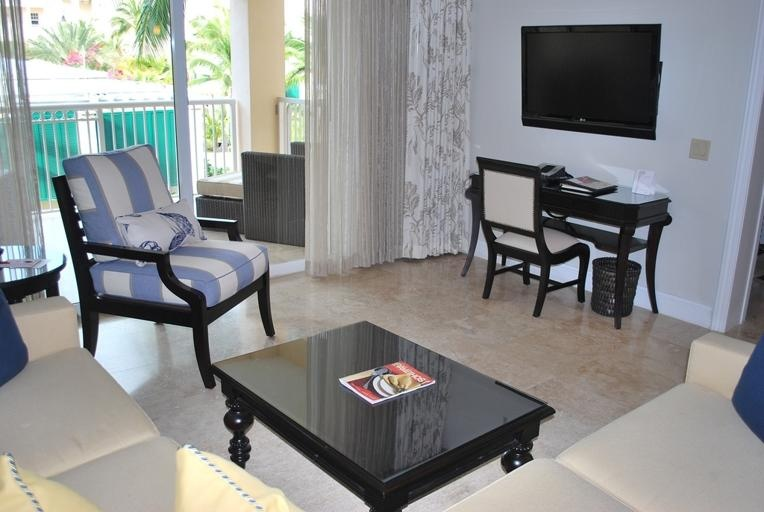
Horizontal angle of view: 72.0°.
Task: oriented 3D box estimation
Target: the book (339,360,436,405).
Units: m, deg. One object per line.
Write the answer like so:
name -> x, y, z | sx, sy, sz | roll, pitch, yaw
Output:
book -> 0.027, 0.592, 2.466 | 0.272, 0.020, 0.198 | -10, 18, -33

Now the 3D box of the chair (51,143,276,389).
chair -> -1.429, -0.003, 3.583 | 1.247, 1.299, 1.280 | -11, 23, -41

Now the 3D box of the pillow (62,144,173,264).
pillow -> -1.783, -0.298, 3.455 | 0.227, 0.726, 0.718 | -20, -1, 37

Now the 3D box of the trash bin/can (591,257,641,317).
trash bin/can -> 1.842, 0.253, 4.312 | 0.406, 0.455, 0.454 | 6, 13, 27

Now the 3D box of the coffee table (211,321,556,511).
coffee table -> 0.067, 0.682, 2.375 | 0.829, 0.462, 1.083 | -14, 24, -40

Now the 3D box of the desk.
desk -> 1.824, -0.069, 4.414 | 0.714, 1.000, 0.911 | -15, 24, -37

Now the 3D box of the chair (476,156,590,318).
chair -> 1.280, -0.210, 4.435 | 0.757, 1.291, 0.778 | 15, 27, 43

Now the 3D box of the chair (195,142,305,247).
chair -> -1.227, -0.555, 4.932 | 0.924, 0.608, 0.926 | 10, 17, 24
